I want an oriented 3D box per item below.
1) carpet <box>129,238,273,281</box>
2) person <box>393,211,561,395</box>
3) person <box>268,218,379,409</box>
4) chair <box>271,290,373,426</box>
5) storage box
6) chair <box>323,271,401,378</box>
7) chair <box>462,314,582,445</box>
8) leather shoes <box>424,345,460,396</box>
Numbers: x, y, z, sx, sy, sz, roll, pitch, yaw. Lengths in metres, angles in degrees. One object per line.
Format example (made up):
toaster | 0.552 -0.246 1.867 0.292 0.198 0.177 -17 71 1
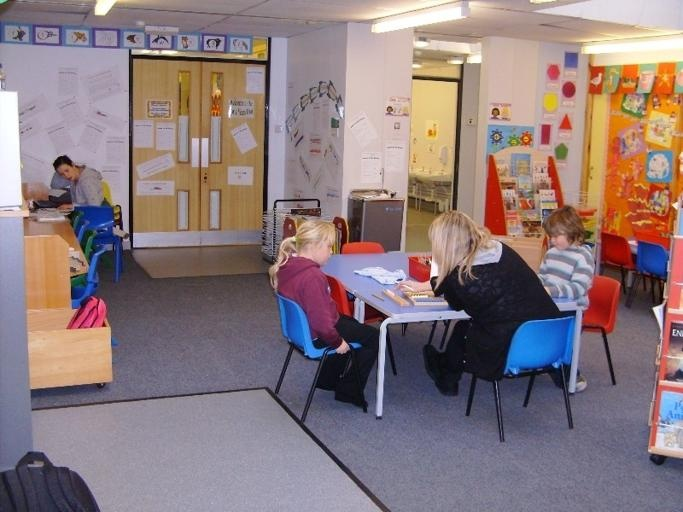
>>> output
carpet | -2.115 0.070 8.320 1.899 0.032 1.923 -4 14 -22
person | 0.961 0.434 3.767 0.956 1.464 0.544 7 15 22
person | -0.152 0.442 4.019 0.803 1.381 0.670 -1 8 -20
chair | -0.160 0.688 3.966 0.588 0.824 0.508 -4 9 -34
storage box | -2.053 0.675 4.199 0.626 0.399 0.646 1 5 -17
chair | 0.183 0.548 4.323 0.588 0.834 0.591 -5 -1 -23
chair | 1.214 0.769 3.845 0.703 0.841 0.687 -7 10 -38
leather shoes | 0.716 0.805 4.209 0.181 0.469 0.288 -5 -14 -18
